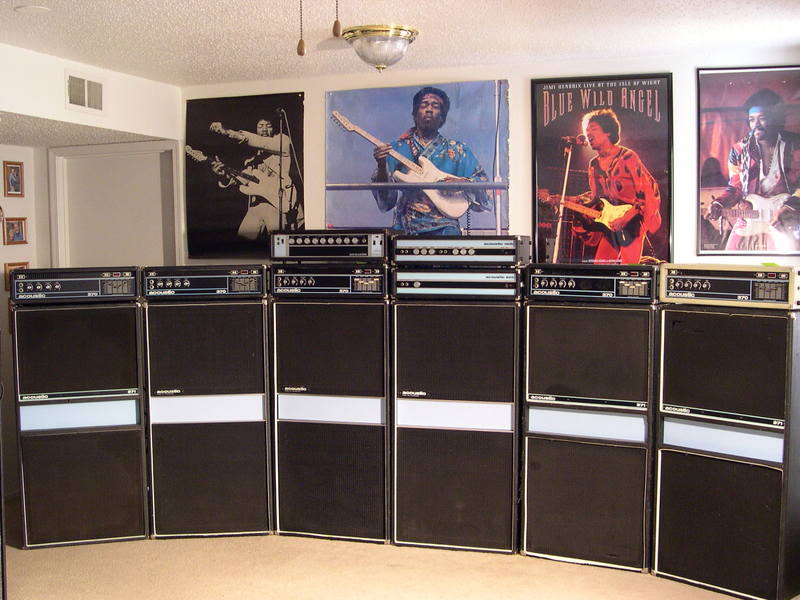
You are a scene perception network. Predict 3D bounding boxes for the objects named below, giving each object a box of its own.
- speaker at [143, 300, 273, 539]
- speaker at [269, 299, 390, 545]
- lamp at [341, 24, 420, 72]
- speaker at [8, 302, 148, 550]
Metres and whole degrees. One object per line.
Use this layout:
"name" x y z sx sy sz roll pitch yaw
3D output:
"speaker" -1.139 0.706 4.204 0.711 1.344 0.310 -2 14 2
"speaker" -0.413 0.713 4.173 0.675 1.366 0.295 -1 14 8
"lamp" -0.132 -1.471 4.185 0.487 0.205 0.494 -9 13 -34
"speaker" -1.882 0.733 4.170 0.747 1.363 0.310 -3 14 -1
